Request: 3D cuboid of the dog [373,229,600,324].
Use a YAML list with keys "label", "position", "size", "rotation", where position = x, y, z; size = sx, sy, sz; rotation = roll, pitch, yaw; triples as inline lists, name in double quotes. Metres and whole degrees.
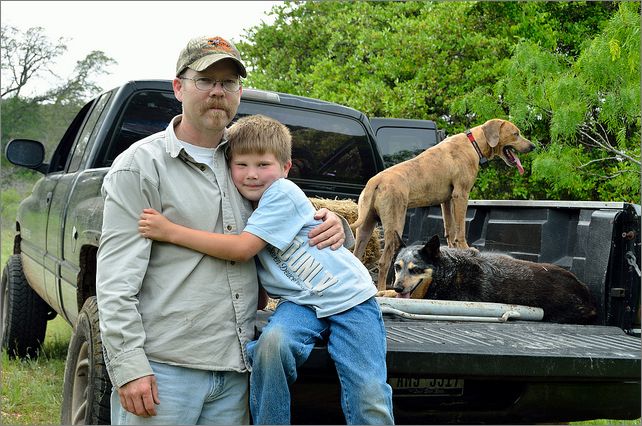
- label: "dog"
  position: [1.490, 0.635, 5.996]
  size: [2.184, 1.085, 0.722]
  rotation: [3, -13, 12]
